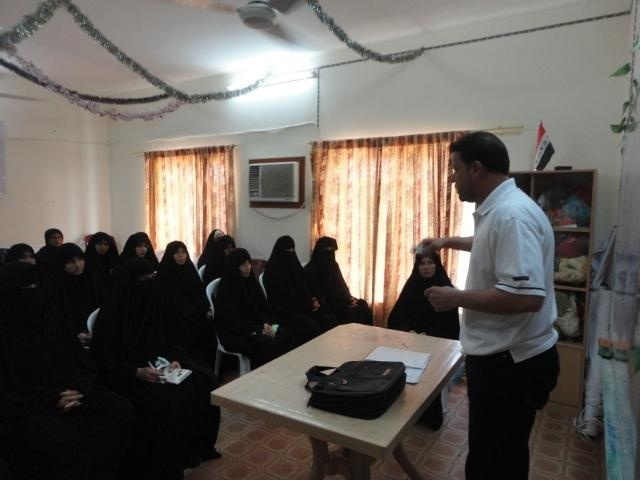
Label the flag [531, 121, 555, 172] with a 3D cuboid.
[{"bbox_3d":[1.785,-0.726,3.980,0.178,0.456,0.107,14,36,30],"label":"flag"}]

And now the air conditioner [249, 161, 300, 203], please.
[{"bbox_3d":[-0.532,-0.657,5.718,0.679,0.452,0.151,3,8,37],"label":"air conditioner"}]

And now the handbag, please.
[{"bbox_3d":[0.156,0.723,2.430,0.316,0.106,0.272,3,9,26],"label":"handbag"}]
